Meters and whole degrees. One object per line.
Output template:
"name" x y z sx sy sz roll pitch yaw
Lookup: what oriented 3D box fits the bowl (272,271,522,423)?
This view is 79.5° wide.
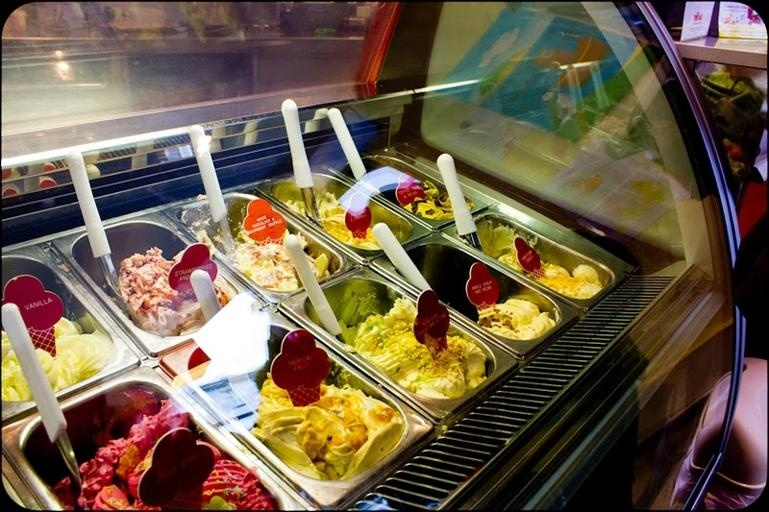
"bowl" 0.104 0.133 1.432 0.772 0.195 0.458 31 38 32

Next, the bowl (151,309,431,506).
"bowl" -0.333 0.464 1.363 0.677 0.149 0.414 33 40 19

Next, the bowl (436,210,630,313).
"bowl" 0.631 -0.038 2.099 0.755 0.186 0.376 31 60 28

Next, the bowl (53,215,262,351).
"bowl" -0.864 0.109 1.682 0.650 0.200 0.412 40 46 22
